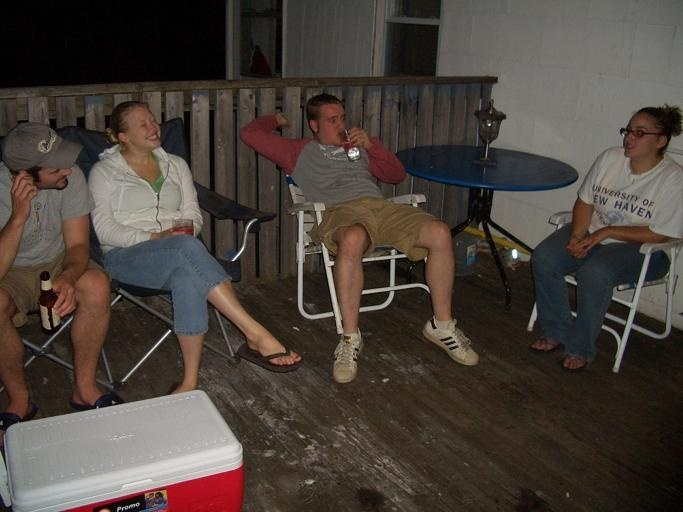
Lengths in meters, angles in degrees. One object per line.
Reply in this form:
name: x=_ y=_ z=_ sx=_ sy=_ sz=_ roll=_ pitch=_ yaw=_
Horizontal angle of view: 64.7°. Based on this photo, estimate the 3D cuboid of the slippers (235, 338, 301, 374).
slippers: x=-0.396 y=0.526 z=2.795 sx=0.284 sy=0.049 sz=0.149 roll=14 pitch=30 yaw=30

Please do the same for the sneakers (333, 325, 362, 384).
sneakers: x=0.048 y=0.567 z=3.023 sx=0.118 sy=0.136 sz=0.325 roll=2 pitch=24 yaw=10

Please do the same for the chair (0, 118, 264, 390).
chair: x=-1.138 y=0.007 z=2.826 sx=1.235 sy=1.379 sz=0.983 roll=-12 pitch=27 yaw=-37

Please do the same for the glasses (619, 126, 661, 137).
glasses: x=1.717 y=-0.696 z=3.058 sx=0.110 sy=0.032 sz=0.105 roll=1 pitch=10 yaw=-14

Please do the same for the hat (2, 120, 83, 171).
hat: x=-1.369 y=-0.479 z=2.482 sx=0.313 sy=0.149 sz=0.203 roll=1 pitch=53 yaw=-20

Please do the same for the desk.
desk: x=1.138 y=-0.509 z=4.115 sx=1.261 sy=0.839 sz=1.269 roll=14 pitch=30 yaw=23

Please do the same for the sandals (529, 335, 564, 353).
sandals: x=1.282 y=0.545 z=3.340 sx=0.180 sy=0.060 sz=0.098 roll=6 pitch=63 yaw=12
